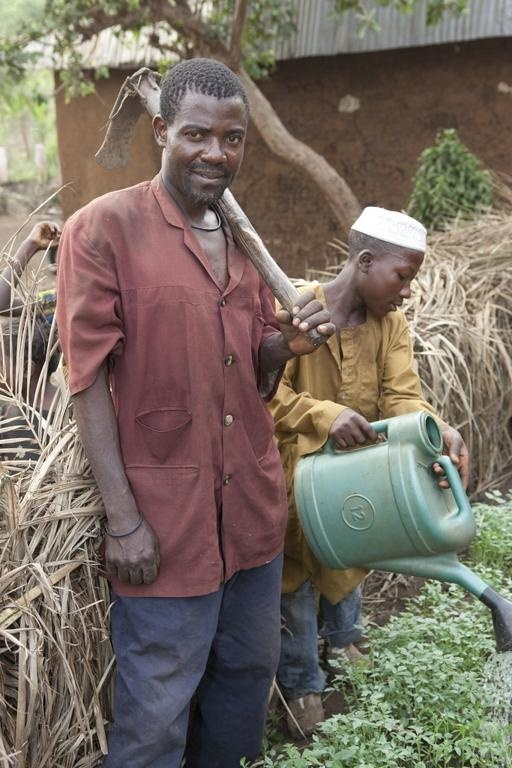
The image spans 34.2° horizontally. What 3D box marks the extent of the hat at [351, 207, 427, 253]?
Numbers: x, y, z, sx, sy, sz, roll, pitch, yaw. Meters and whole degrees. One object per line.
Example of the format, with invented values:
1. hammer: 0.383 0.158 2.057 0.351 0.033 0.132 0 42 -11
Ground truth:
1. hat: 0.428 -0.484 2.678 0.184 0.091 0.186 22 -1 35

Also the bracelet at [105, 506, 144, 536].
1. bracelet: -0.291 0.302 1.820 0.054 0.012 0.054 -27 16 -27

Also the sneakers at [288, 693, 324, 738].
1. sneakers: 0.154 1.075 2.707 0.083 0.094 0.222 -17 -19 -8
